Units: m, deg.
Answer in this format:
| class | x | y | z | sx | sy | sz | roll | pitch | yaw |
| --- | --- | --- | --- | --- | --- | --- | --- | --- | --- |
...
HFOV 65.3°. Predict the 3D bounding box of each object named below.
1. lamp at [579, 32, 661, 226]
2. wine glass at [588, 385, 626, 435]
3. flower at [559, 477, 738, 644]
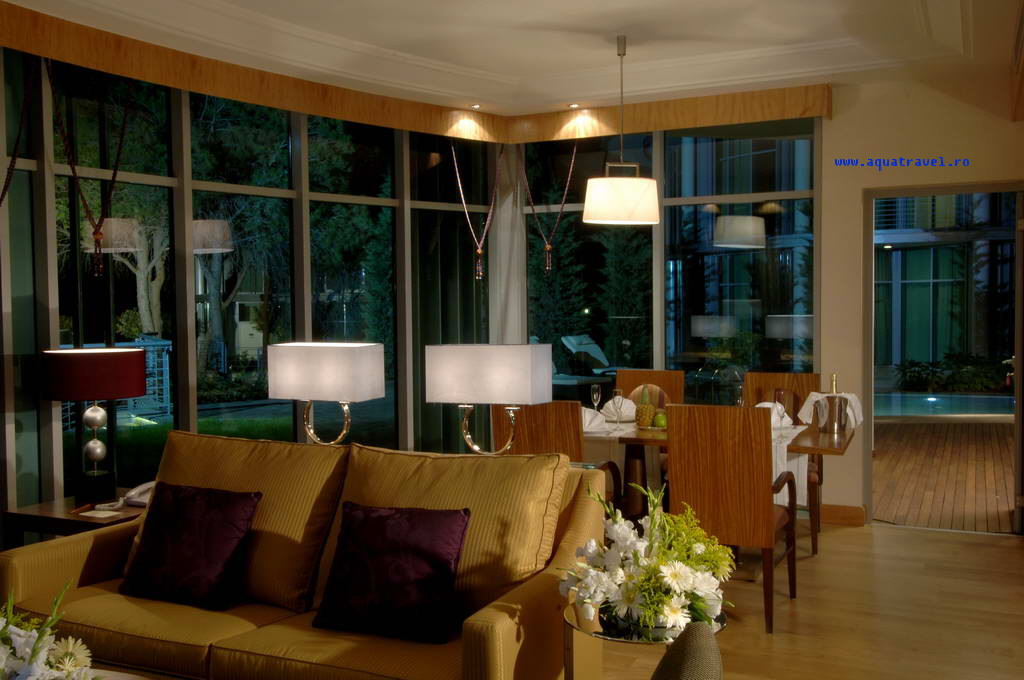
| class | x | y | z | sx | sy | sz | roll | pitch | yaw |
| --- | --- | --- | --- | --- | --- | --- | --- | --- | --- |
| lamp | 0.922 | -1.640 | 6.681 | 0.699 | 1.368 | 1.847 | -1 | 6 | 7 |
| wine glass | 0.698 | 0.561 | 6.062 | 0.275 | 0.327 | 0.295 | -1 | -7 | 4 |
| flower | 0.561 | 0.956 | 3.544 | 0.622 | 0.477 | 0.637 | -8 | 20 | -7 |
